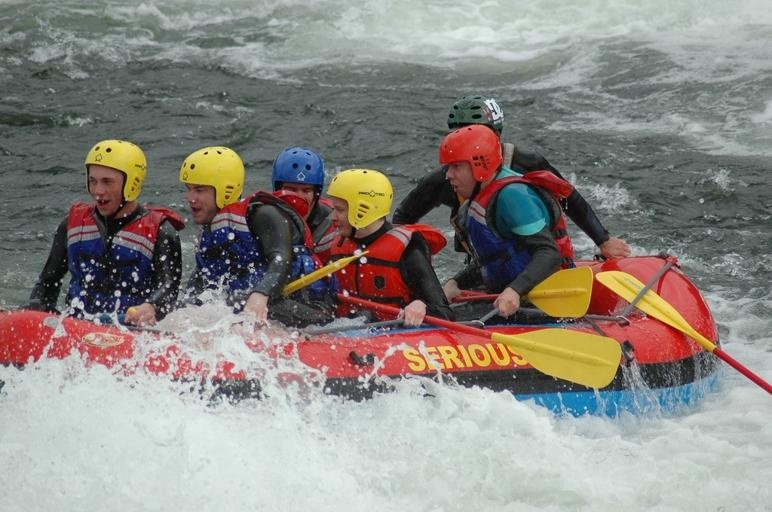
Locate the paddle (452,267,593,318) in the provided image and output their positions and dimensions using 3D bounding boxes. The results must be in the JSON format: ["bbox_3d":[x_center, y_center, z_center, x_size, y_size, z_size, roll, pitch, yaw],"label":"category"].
[{"bbox_3d":[1.380,0.384,10.730,1.738,0.489,0.209,-2,7,-36],"label":"paddle"}]

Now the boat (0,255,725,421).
[{"bbox_3d":[0.010,0.963,10.600,6.236,0.939,2.553,0,7,-12],"label":"boat"}]

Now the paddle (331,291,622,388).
[{"bbox_3d":[0.788,0.722,10.492,2.536,0.103,0.389,-16,33,18],"label":"paddle"}]

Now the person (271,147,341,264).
[{"bbox_3d":[-0.854,-0.623,11.842,0.945,1.192,1.342,-3,-2,-1],"label":"person"}]

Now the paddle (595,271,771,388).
[{"bbox_3d":[3.158,0.834,11.339,2.319,0.086,0.251,30,56,20],"label":"paddle"}]
